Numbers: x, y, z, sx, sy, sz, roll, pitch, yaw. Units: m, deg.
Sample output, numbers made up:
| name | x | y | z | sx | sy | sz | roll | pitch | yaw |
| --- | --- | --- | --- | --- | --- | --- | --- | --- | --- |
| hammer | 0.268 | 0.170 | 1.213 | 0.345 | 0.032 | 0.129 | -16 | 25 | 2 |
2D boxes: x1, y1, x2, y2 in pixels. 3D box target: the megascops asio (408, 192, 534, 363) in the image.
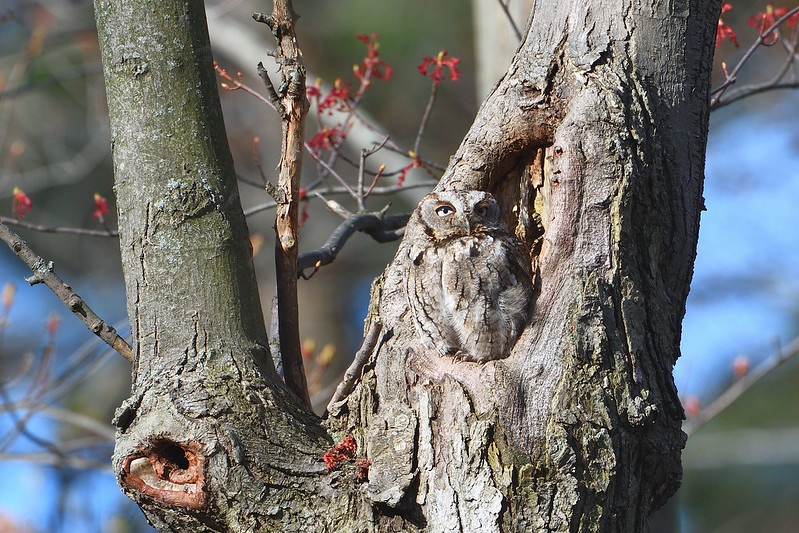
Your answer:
| name | x | y | z | sx | sy | sz | roll | pitch | yaw |
| --- | --- | --- | --- | --- | --- | --- | --- | --- | --- |
| megascops asio | 0.522 | 0.077 | 11.517 | 0.867 | 1.361 | 1.158 | -3 | -32 | 13 |
